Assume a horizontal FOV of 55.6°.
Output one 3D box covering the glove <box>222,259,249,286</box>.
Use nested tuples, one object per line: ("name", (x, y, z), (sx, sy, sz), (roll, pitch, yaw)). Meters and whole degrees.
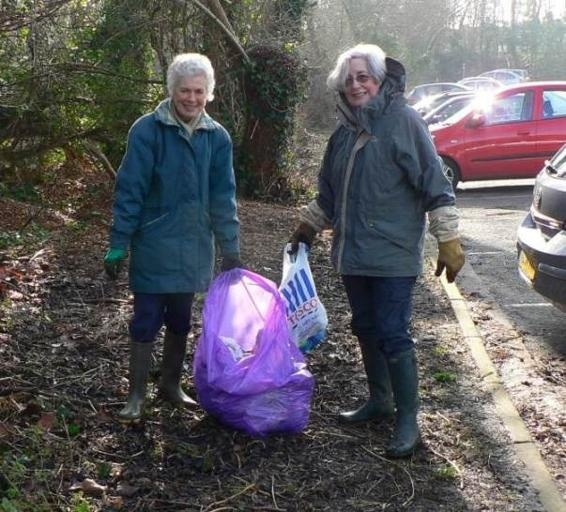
("glove", (-0.282, 0.089, 3.113), (0.121, 0.113, 0.072), (-4, 4, 10))

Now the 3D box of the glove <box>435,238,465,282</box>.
("glove", (0.863, 0.019, 2.782), (0.127, 0.264, 0.208), (3, 13, 16))

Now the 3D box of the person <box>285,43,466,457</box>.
("person", (0.525, -0.057, 2.938), (0.456, 2.112, 0.844), (-8, 15, -30))

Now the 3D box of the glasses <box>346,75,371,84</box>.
("glasses", (0.382, -0.901, 2.745), (0.129, 0.050, 0.026), (4, 14, 19))

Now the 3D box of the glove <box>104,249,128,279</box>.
("glove", (-0.890, 0.034, 2.837), (0.098, 0.180, 0.170), (-5, 14, -19))

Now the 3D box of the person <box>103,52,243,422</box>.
("person", (-0.578, -0.083, 2.925), (0.766, 1.942, 0.333), (-7, 14, -24))
